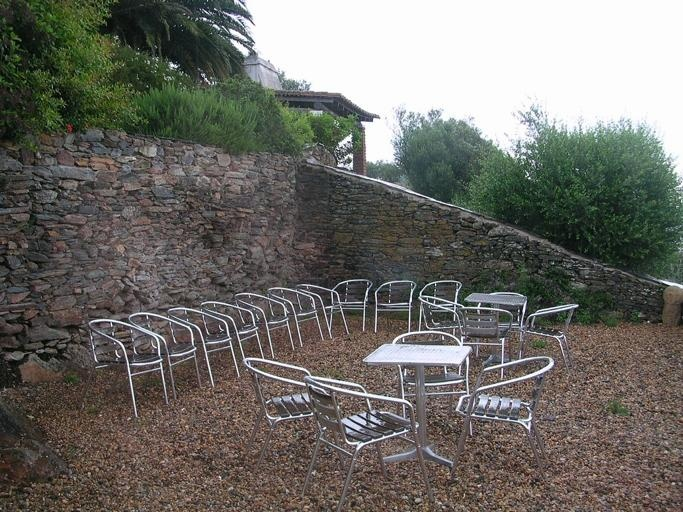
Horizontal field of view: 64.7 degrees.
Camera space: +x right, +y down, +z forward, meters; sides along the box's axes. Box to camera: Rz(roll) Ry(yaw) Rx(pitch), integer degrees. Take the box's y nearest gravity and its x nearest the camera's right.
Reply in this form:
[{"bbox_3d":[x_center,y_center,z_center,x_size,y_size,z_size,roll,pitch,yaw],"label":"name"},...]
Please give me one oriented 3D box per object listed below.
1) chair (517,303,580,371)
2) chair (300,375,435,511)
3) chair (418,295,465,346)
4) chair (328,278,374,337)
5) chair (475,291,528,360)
[{"bbox_3d":[3.093,1.221,8.022,0.749,1.013,0.741,5,9,32],"label":"chair"},{"bbox_3d":[0.186,1.622,5.579,1.212,1.518,1.110,-7,7,-29],"label":"chair"},{"bbox_3d":[1.587,0.987,8.614,0.709,1.056,0.815,-2,7,14],"label":"chair"},{"bbox_3d":[0.230,0.913,10.370,0.865,1.167,0.817,0,-3,10],"label":"chair"},{"bbox_3d":[2.336,1.041,7.864,0.577,0.890,0.628,3,42,22],"label":"chair"}]
